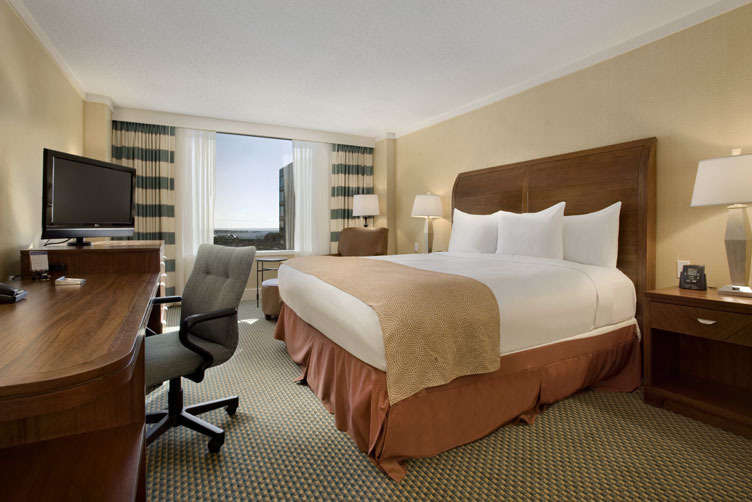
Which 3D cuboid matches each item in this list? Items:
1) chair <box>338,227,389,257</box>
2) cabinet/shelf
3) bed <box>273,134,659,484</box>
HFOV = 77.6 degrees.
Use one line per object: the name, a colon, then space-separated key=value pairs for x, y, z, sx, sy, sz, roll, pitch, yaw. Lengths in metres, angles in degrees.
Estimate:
chair: x=-0.170 y=-0.129 z=6.951 sx=0.468 sy=0.551 sz=0.601 roll=2 pitch=3 yaw=22
cabinet/shelf: x=-2.498 y=0.439 z=4.020 sx=0.653 sy=0.788 sz=0.901 roll=-22 pitch=-12 yaw=35
bed: x=0.843 y=0.580 z=4.344 sx=2.881 sy=2.224 sz=2.860 roll=-3 pitch=5 yaw=-32
